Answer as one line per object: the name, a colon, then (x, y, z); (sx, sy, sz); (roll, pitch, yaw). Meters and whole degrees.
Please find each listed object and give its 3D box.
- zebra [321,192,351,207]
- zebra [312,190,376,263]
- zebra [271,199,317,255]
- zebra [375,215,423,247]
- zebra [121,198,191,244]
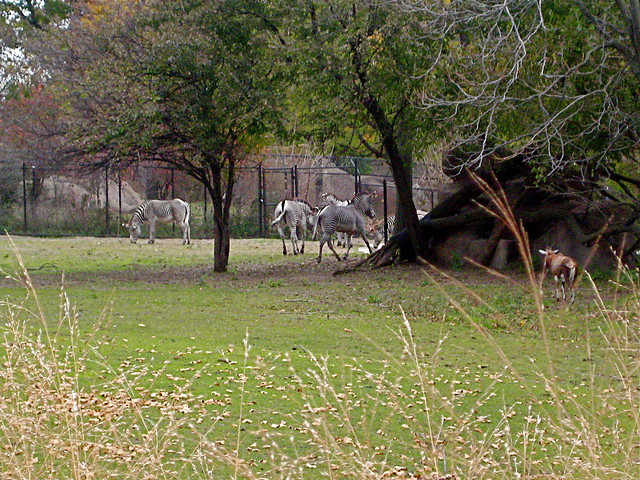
zebra: (0.451, -1.380, 32.225); (0.776, 0.403, 1.421); (-3, -6, 20)
zebra: (0.769, -0.438, 28.732); (2.595, 2.035, 0.667); (-7, 3, -43)
zebra: (-0.880, -0.598, 31.990); (1.409, 1.546, 3.446); (1, 8, 0)
zebra: (2.231, -0.394, 33.371); (0.639, 1.389, 2.493); (2, 5, 39)
zebra: (-6.020, -0.801, 35.673); (2.414, 1.423, 1.400); (1, 7, 6)
